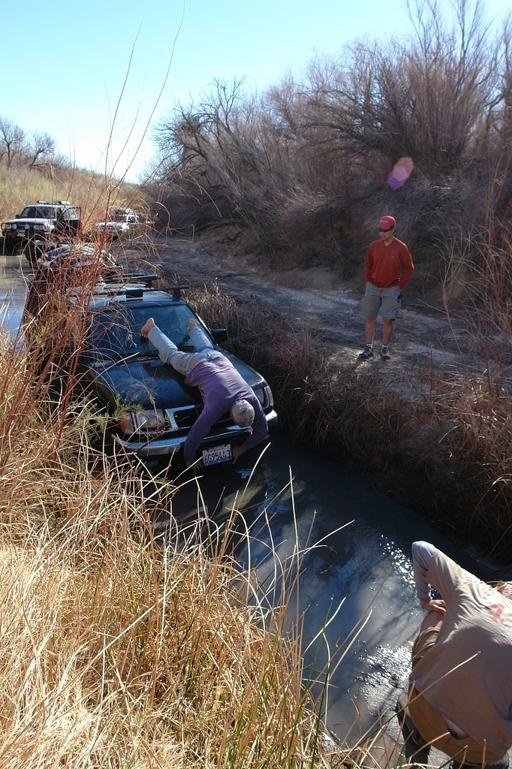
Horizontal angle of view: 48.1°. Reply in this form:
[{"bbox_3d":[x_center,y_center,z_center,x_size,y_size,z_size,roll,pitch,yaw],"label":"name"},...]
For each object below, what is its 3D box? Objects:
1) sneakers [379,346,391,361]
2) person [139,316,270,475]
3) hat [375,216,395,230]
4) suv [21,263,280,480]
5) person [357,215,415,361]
[{"bbox_3d":[1.456,-0.344,6.506,0.075,0.102,0.233,-2,7,5],"label":"sneakers"},{"bbox_3d":[-0.461,-0.029,4.750,0.674,0.589,1.433,-13,45,-30],"label":"person"},{"bbox_3d":[1.356,-1.675,5.997,0.143,0.144,0.210,8,17,2],"label":"hat"},{"bbox_3d":[-1.131,-0.421,5.064,1.217,1.001,2.598,-11,32,-34],"label":"suv"},{"bbox_3d":[1.418,-0.964,6.352,0.589,1.429,0.430,19,21,35],"label":"person"}]
